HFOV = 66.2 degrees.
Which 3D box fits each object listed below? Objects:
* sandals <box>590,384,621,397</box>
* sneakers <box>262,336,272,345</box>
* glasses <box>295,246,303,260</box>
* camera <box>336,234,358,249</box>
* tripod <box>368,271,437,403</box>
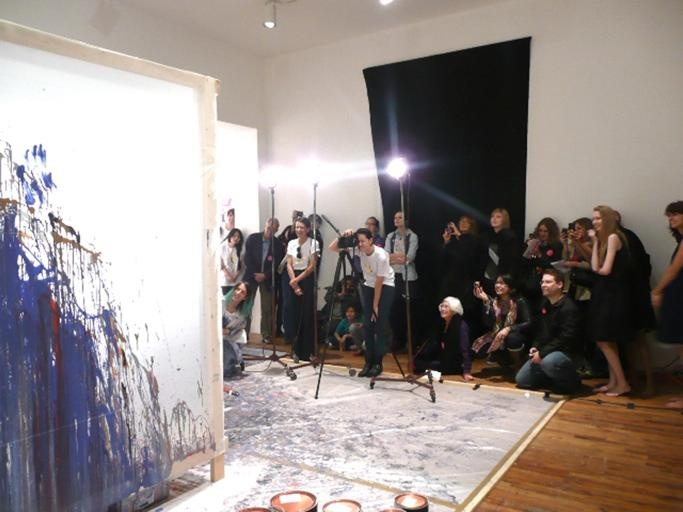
[{"bbox_3d":[2.270,1.144,4.518,0.066,0.106,0.220,-10,7,-26],"label":"sandals"},{"bbox_3d":[-0.992,1.108,6.896,0.134,0.107,0.055,-10,-10,42],"label":"sneakers"},{"bbox_3d":[-0.504,-0.020,6.013,0.075,0.121,0.027,2,4,22],"label":"glasses"},{"bbox_3d":[0.061,-0.120,4.675,0.183,0.145,0.106,1,-6,-16],"label":"camera"},{"bbox_3d":[0.609,0.786,4.973,0.683,1.204,0.778,1,2,7],"label":"tripod"}]
